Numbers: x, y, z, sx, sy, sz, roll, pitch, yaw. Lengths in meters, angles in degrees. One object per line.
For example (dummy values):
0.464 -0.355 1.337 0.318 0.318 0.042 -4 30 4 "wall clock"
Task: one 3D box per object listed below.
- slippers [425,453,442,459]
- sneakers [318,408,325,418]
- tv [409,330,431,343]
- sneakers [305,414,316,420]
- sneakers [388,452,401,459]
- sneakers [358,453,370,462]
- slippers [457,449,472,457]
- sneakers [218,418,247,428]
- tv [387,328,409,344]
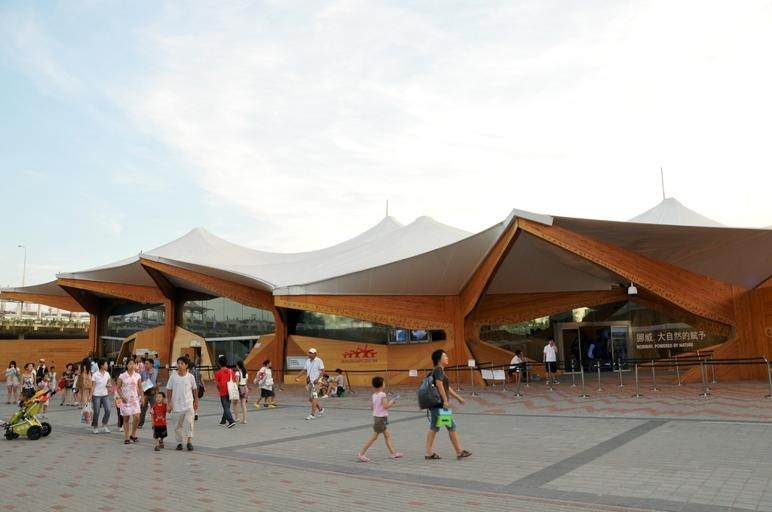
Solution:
0.853 3.544 10.043 0.202 0.064 0.119 -2 -7 9 "slippers"
-1.795 4.314 15.585 0.219 0.151 0.463 14 -27 0 "sneakers"
1.651 3.610 25.702 0.769 0.473 0.099 -1 3 9 "tv"
-1.972 4.234 14.847 0.325 0.120 0.103 14 -24 -30 "sneakers"
0.189 3.630 10.279 0.186 0.066 0.095 -6 -3 -7 "sneakers"
-0.398 3.583 10.105 0.196 0.133 0.247 0 -10 -5 "sneakers"
1.414 3.481 9.967 0.247 0.092 0.129 -6 -1 -33 "slippers"
-3.916 4.158 14.136 0.617 0.234 0.206 -7 -12 27 "sneakers"
0.602 3.651 25.920 0.854 0.510 0.768 1 -2 9 "tv"
